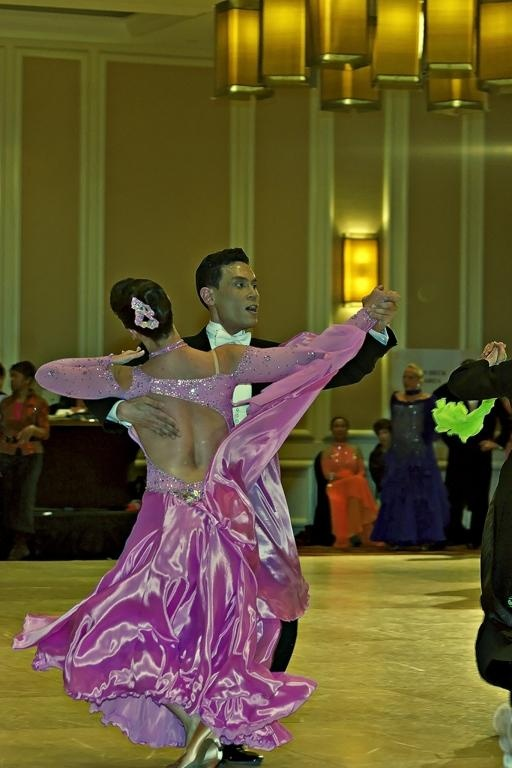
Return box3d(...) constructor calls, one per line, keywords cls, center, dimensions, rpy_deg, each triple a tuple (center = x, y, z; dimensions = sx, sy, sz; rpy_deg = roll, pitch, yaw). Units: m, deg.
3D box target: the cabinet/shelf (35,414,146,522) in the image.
box3d(cls="cabinet/shelf", center=(-1.154, 0.582, 6.607), dimensions=(1.033, 0.771, 0.215), rpy_deg=(2, 0, -15))
